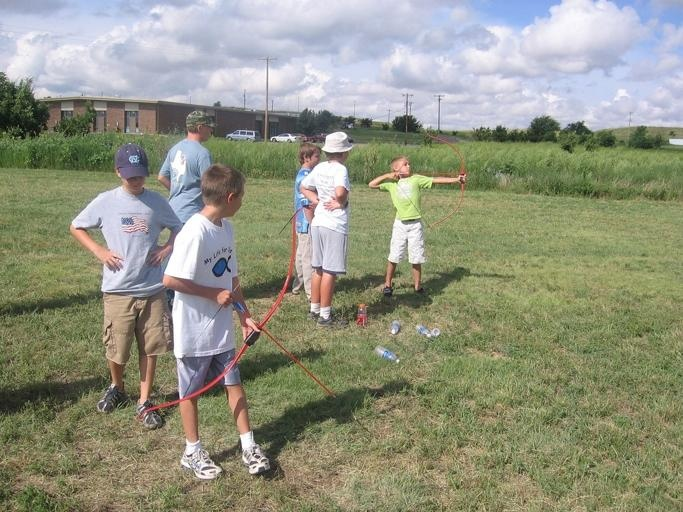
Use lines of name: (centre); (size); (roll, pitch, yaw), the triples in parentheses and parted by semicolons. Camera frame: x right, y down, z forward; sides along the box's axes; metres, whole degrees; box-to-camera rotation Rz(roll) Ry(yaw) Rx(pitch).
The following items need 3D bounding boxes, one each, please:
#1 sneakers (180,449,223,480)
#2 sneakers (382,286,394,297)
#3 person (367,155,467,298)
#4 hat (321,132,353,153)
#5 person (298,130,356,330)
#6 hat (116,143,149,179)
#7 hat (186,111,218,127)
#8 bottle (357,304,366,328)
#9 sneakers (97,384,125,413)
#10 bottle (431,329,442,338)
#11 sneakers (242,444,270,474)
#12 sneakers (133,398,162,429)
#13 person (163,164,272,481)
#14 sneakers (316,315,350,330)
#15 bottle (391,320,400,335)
sneakers: (-1.334, 1.939, 6.702); (0.424, 0.220, 0.205); (13, 14, 26)
sneakers: (0.673, 0.528, 10.330); (0.114, 0.149, 0.329); (-1, -4, 4)
person: (0.957, -0.439, 10.347); (0.928, 1.998, 0.726); (0, 9, 3)
hat: (-0.044, -1.457, 9.050); (0.339, 0.260, 0.387); (1, 10, 3)
person: (-0.196, -0.341, 9.121); (0.611, 2.481, 0.761); (-1, 9, -8)
hat: (-2.118, -0.967, 7.073); (0.299, 0.267, 0.469); (-9, 27, -42)
hat: (-1.649, -1.597, 8.206); (0.303, 0.184, 0.188); (-7, 12, -32)
bottle: (0.262, 0.769, 9.368); (0.147, 0.263, 0.330); (0, 10, 3)
sneakers: (-2.412, 1.524, 7.371); (0.169, 0.225, 0.347); (13, 26, 16)
bottle: (1.212, 0.975, 9.016); (0.122, 0.070, 0.208); (2, 11, 10)
sneakers: (-0.810, 1.935, 6.649); (0.151, 0.171, 0.364); (0, -4, -30)
sneakers: (-1.952, 1.653, 7.210); (0.202, 0.226, 0.424); (2, 10, -46)
person: (-1.211, 0.630, 6.583); (0.857, 2.925, 0.619); (-2, 9, -11)
sneakers: (-0.121, 0.857, 9.251); (0.398, 0.194, 0.167); (-2, 16, -13)
bottle: (0.697, 0.927, 9.126); (0.132, 0.146, 0.161); (-10, 23, 22)
